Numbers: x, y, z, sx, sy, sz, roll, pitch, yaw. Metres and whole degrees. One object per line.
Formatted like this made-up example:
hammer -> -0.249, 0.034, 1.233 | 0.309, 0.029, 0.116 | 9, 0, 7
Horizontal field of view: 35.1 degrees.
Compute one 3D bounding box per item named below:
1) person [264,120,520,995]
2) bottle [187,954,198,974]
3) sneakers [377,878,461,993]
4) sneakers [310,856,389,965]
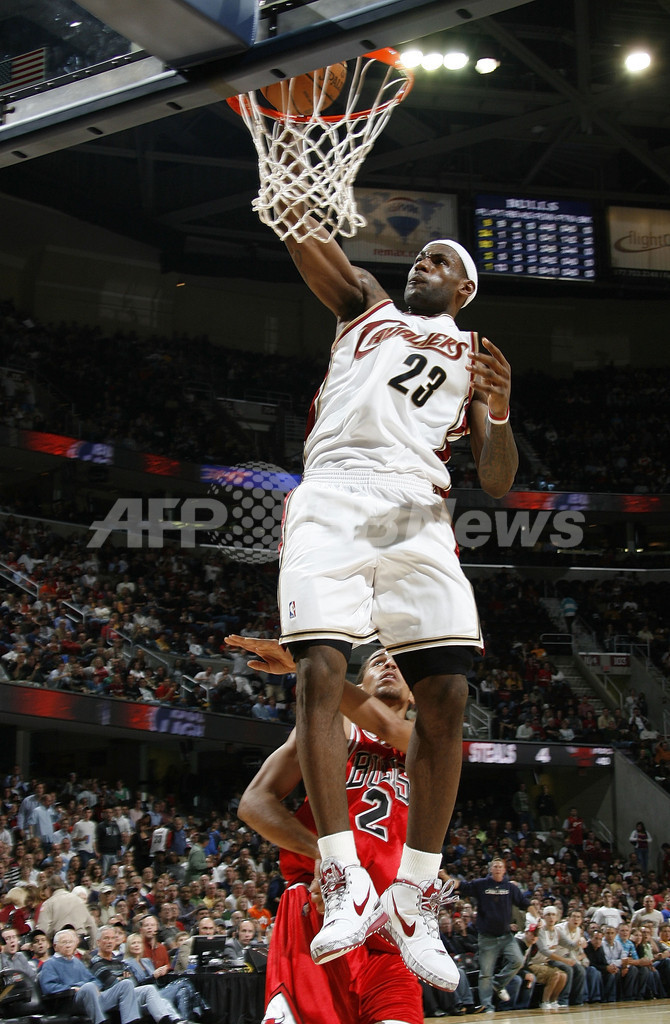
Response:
person -> 0.098, 0.097, 1.983 | 0.416, 1.443, 0.601 | -3, -11, 39
bottle -> -1.092, 3.515, 8.163 | 0.063, 0.100, 0.335 | 5, -8, -11
sneakers -> 0.158, 0.701, 1.796 | 0.086, 0.126, 0.222 | 10, 8, -25
sneakers -> 0.005, 0.617, 1.670 | 0.066, 0.120, 0.197 | -20, -7, 24
